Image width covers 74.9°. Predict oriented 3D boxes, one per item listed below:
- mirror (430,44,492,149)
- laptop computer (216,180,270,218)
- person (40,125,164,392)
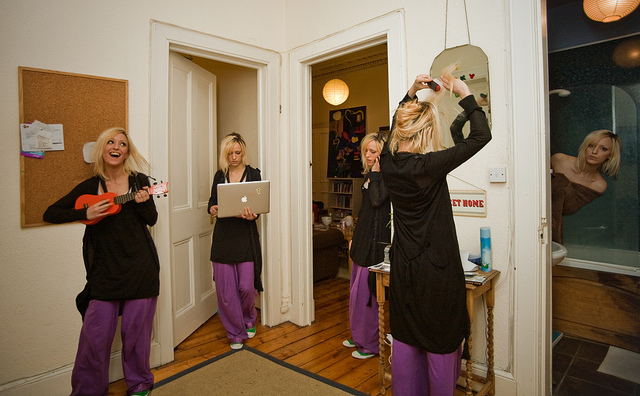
[{"bbox_3d":[1.321,-0.954,4.030,0.638,1.427,0.043,-5,-33,24],"label":"mirror"},{"bbox_3d":[-0.820,0.125,4.719,0.577,0.425,0.420,-4,-31,-3],"label":"laptop computer"},{"bbox_3d":[-1.989,0.626,4.004,0.875,2.497,0.656,-6,15,-26],"label":"person"}]
